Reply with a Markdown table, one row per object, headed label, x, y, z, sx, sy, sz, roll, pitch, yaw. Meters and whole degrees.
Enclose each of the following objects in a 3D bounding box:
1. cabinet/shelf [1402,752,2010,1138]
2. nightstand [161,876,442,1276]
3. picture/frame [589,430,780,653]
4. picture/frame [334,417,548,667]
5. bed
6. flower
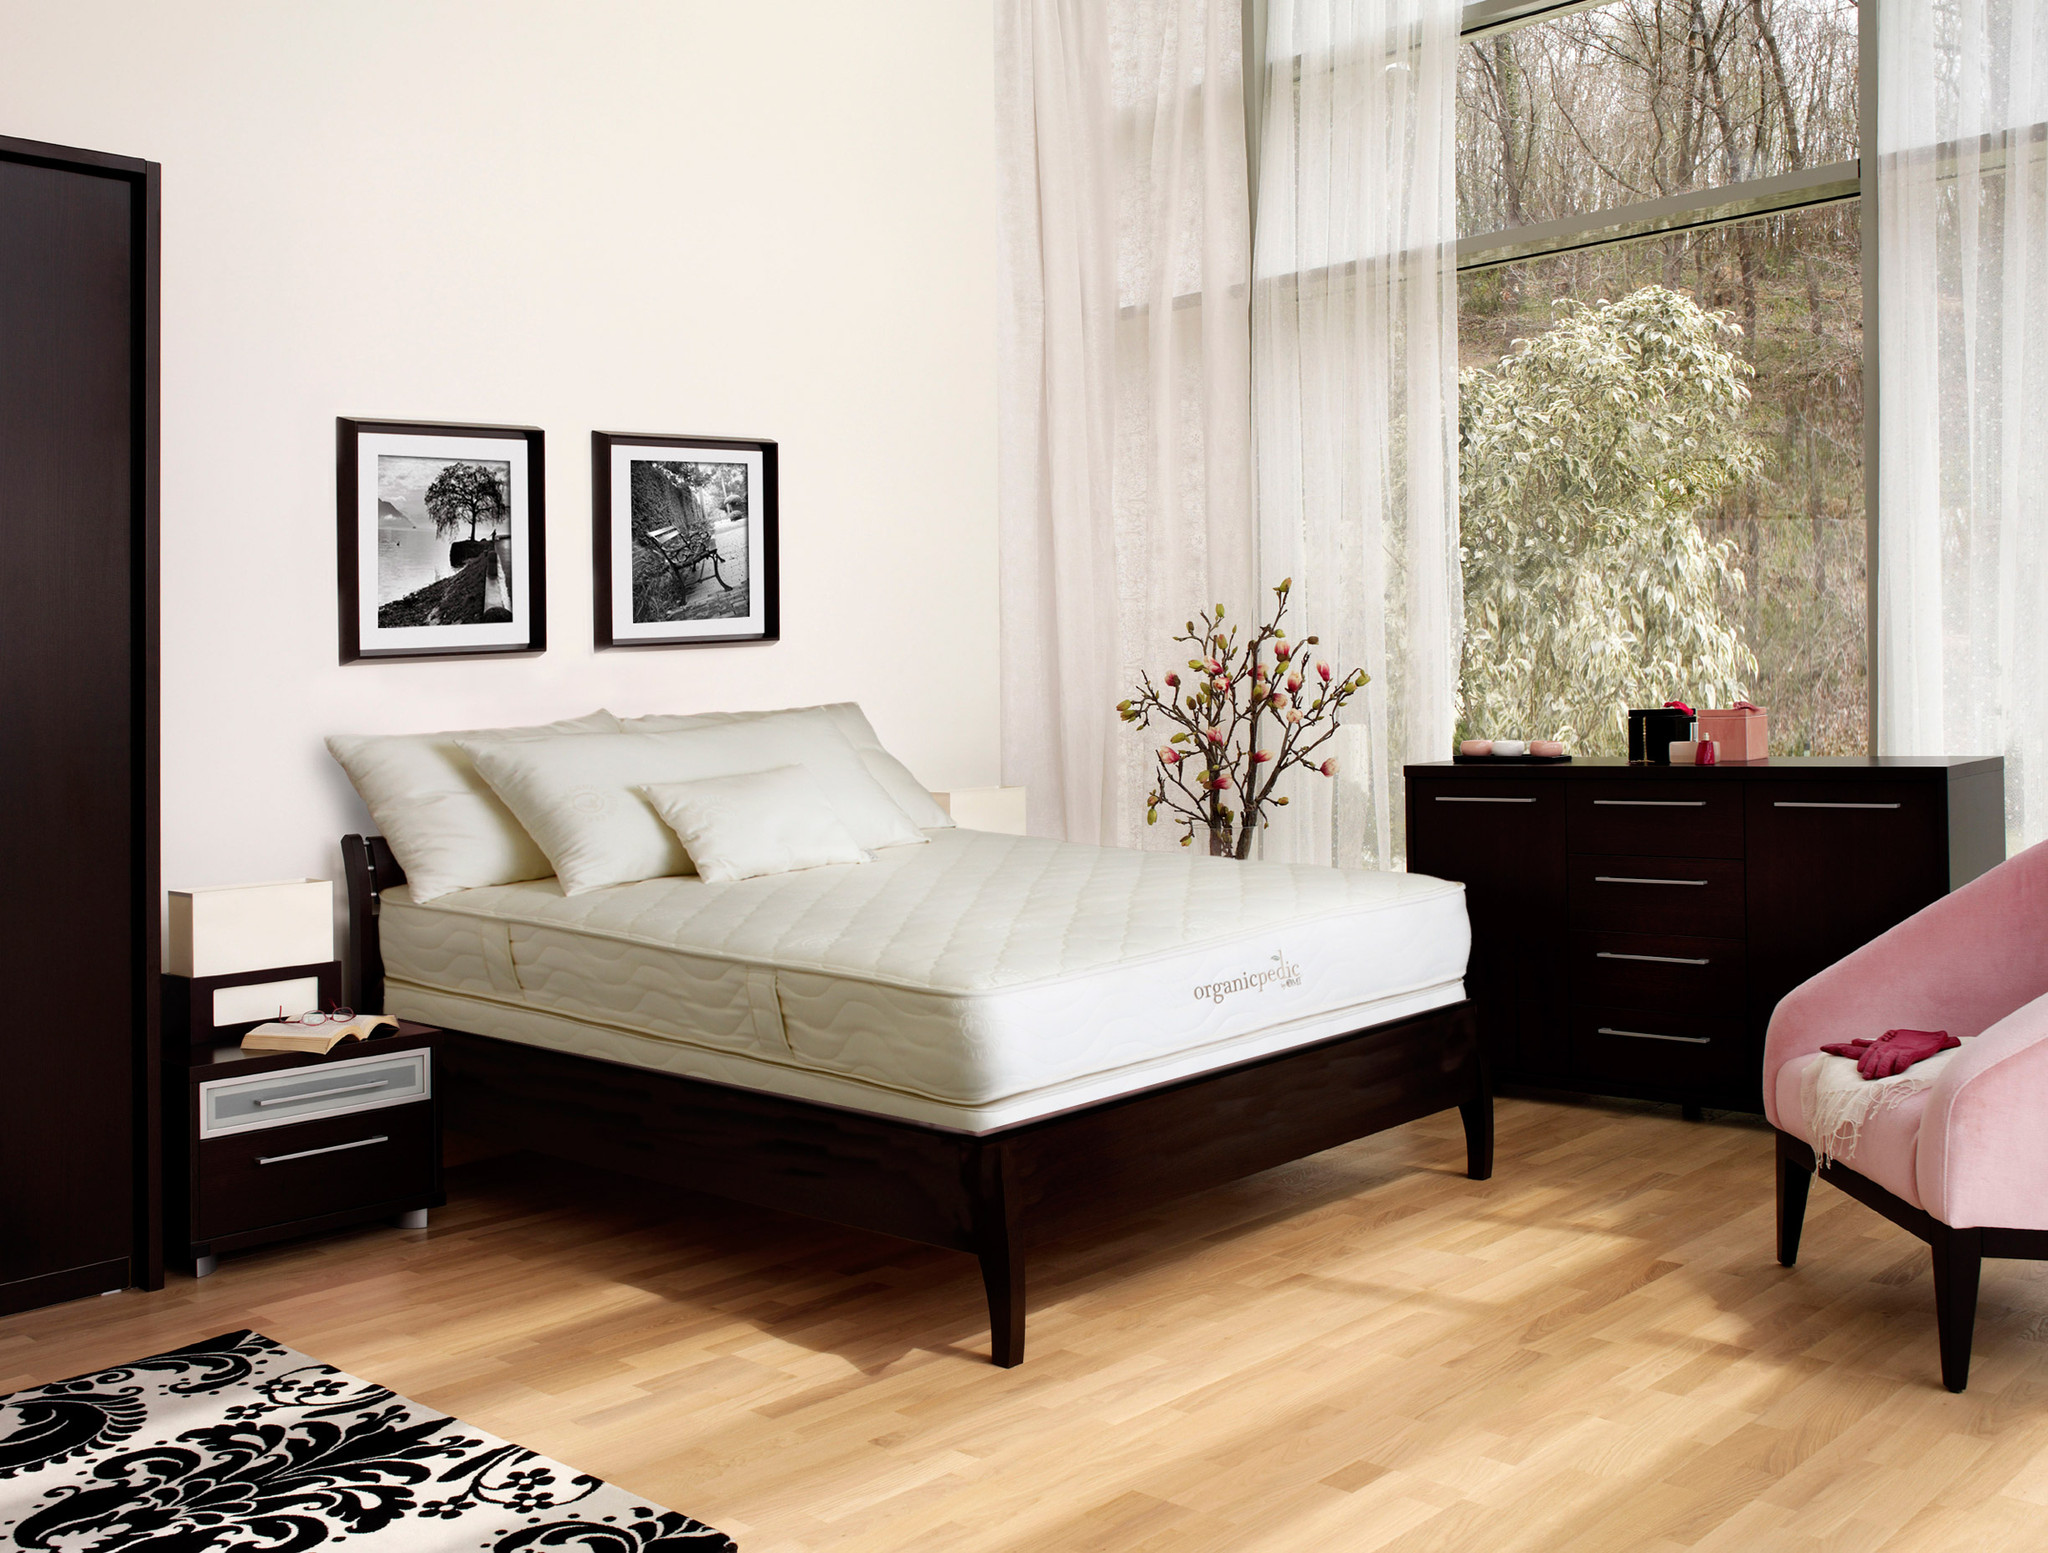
| label | x | y | z | sx | sy | sz | roll | pitch | yaw |
| --- | --- | --- | --- | --- | --- | --- | --- | --- | --- |
| cabinet/shelf | 2.059 | 0.444 | 4.752 | 0.612 | 1.029 | 1.591 | -7 | 5 | -43 |
| nightstand | -1.872 | 0.696 | 3.945 | 0.678 | 0.729 | 0.765 | 3 | 5 | -22 |
| picture/frame | -1.171 | -0.794 | 5.196 | 0.773 | 0.807 | 0.059 | -1 | 0 | -45 |
| picture/frame | -1.783 | -0.711 | 4.651 | 0.109 | 0.904 | 0.770 | 0 | 0 | 43 |
| bed | -0.431 | 0.404 | 3.628 | 1.611 | 0.718 | 1.230 | 3 | 7 | 39 |
| flower | 0.845 | -0.214 | 5.714 | 0.674 | 1.015 | 0.962 | -2 | 4 | -12 |
